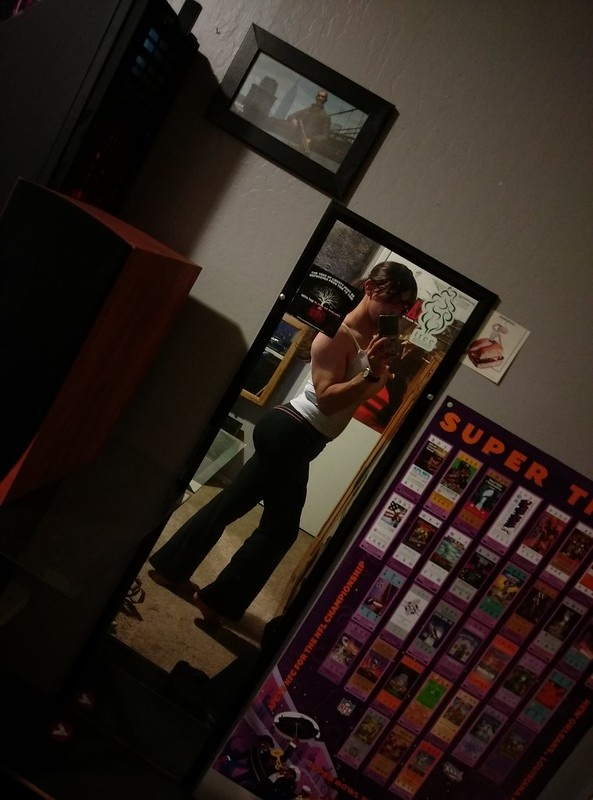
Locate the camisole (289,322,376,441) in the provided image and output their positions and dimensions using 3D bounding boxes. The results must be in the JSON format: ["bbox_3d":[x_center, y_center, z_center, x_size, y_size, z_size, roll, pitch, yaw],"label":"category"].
[{"bbox_3d":[0.079,-0.052,1.906,0.205,0.333,0.250,28,3,3],"label":"camisole"}]
